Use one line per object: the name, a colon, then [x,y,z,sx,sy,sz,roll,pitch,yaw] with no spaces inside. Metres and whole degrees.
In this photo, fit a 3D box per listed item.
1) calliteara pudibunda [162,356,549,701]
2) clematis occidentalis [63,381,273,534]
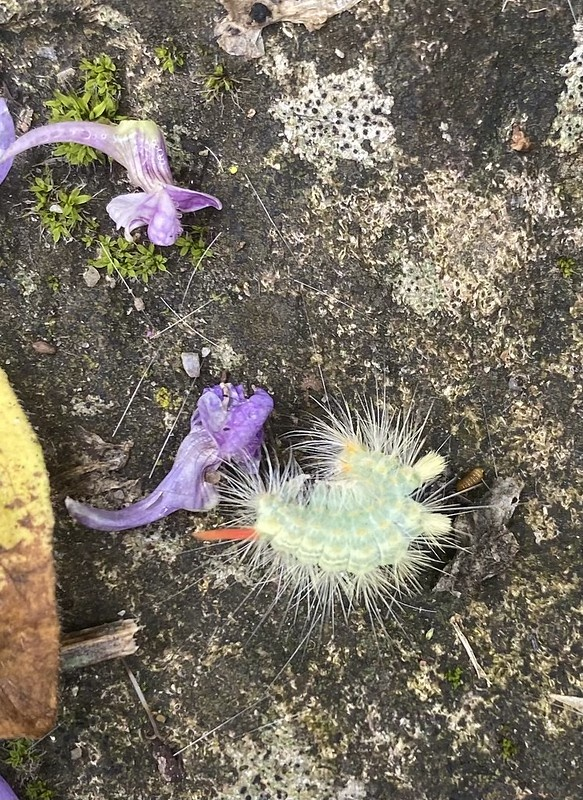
calliteara pudibunda: [0.250,0.682,4.488,1.192,0.824,1.064,-35,61,-23]
clematis occidentalis: [-0.566,0.363,4.321,1.137,0.327,0.543,-42,67,-13]
